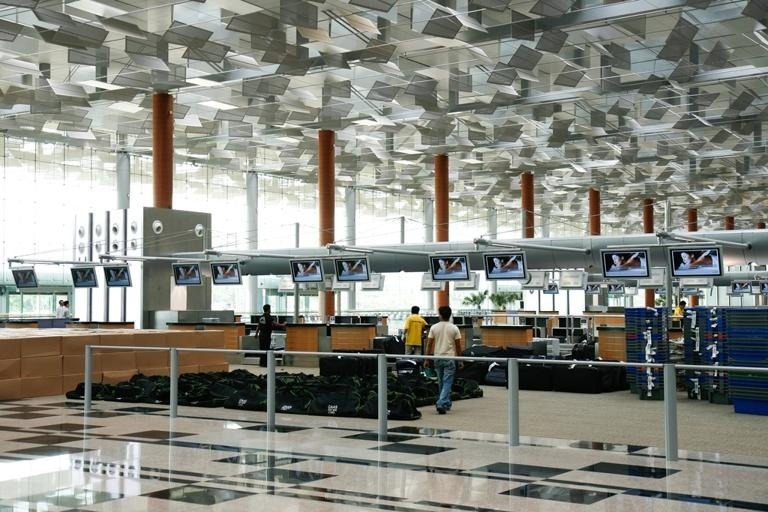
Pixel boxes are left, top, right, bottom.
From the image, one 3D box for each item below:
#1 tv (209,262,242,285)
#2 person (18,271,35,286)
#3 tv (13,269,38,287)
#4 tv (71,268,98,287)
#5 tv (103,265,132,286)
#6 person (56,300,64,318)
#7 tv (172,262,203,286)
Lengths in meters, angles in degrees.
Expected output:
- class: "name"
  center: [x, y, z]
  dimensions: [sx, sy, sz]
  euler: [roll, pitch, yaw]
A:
- class: "tv"
  center: [-6.103, 0.643, 27.527]
  dimensions: [1.463, 0.649, 0.092]
  euler: [-1, 2, 22]
- class: "person"
  center: [-15.268, 0.955, 30.397]
  dimensions: [1.123, 0.611, 0.222]
  euler: [4, 1, 16]
- class: "tv"
  center: [-15.393, 0.968, 30.469]
  dimensions: [1.404, 0.764, 0.278]
  euler: [0, 10, 21]
- class: "tv"
  center: [-11.905, 0.831, 28.284]
  dimensions: [1.307, 0.692, 0.146]
  euler: [0, 13, 21]
- class: "tv"
  center: [-10.262, 0.739, 27.408]
  dimensions: [1.346, 0.676, 0.142]
  euler: [0, 2, 13]
- class: "person"
  center: [-15.055, 2.452, 33.295]
  dimensions: [0.322, 0.735, 0.926]
  euler: [1, -2, -37]
- class: "tv"
  center: [-7.560, 0.646, 27.464]
  dimensions: [1.459, 0.664, 0.130]
  euler: [-2, 2, 27]
